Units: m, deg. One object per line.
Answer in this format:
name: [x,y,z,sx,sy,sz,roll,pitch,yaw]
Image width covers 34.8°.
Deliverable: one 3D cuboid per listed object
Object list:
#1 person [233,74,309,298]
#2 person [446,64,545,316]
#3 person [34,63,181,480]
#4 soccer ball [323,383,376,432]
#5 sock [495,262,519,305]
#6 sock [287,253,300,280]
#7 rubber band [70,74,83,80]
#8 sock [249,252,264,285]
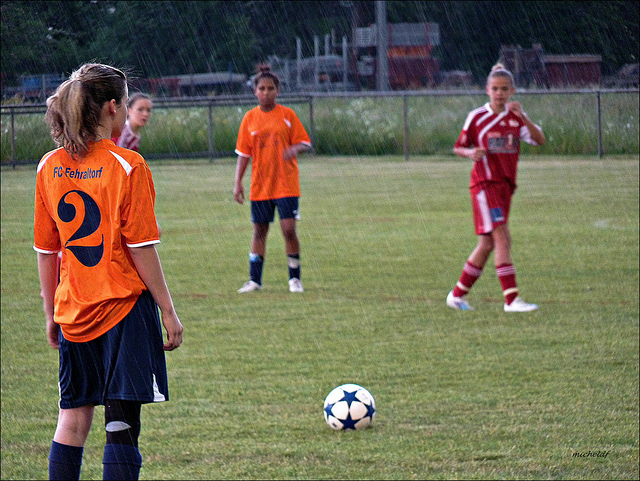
person: [-0.472,-0.542,9.663,0.791,2.066,0.399,-5,10,-2]
person: [1.494,-0.408,8.808,0.859,2.073,0.431,-3,10,8]
person: [-1.417,0.301,6.708,0.936,2.860,0.707,-6,10,-5]
soccer ball: [0.214,1.195,7.503,0.299,0.337,0.330,-6,25,-32]
sock: [1.631,0.355,8.875,0.170,0.392,0.193,-3,11,11]
sock: [-0.251,0.239,9.753,0.104,0.277,0.122,-6,11,-3]
rubber band: [-1.587,-1.064,6.619,0.082,0.035,0.025,-2,12,21]
sock: [-0.622,0.316,9.833,0.137,0.395,0.262,-4,-28,1]
